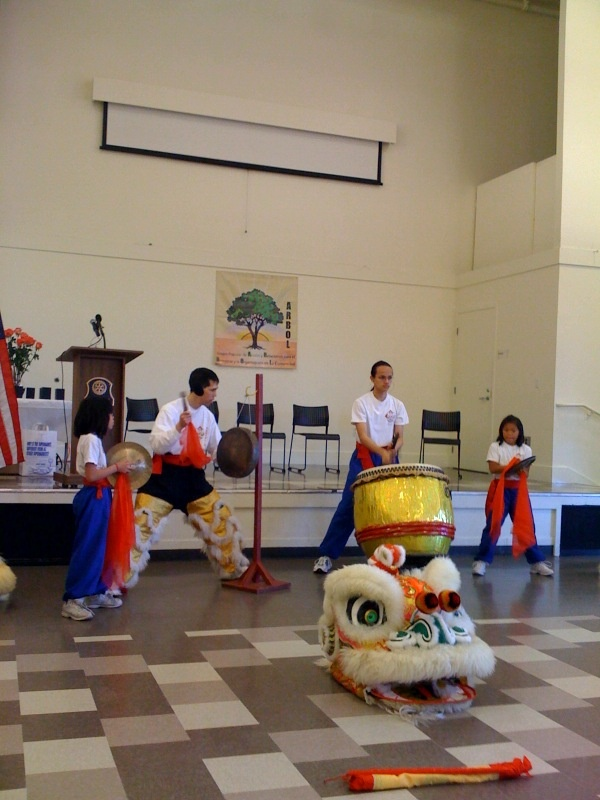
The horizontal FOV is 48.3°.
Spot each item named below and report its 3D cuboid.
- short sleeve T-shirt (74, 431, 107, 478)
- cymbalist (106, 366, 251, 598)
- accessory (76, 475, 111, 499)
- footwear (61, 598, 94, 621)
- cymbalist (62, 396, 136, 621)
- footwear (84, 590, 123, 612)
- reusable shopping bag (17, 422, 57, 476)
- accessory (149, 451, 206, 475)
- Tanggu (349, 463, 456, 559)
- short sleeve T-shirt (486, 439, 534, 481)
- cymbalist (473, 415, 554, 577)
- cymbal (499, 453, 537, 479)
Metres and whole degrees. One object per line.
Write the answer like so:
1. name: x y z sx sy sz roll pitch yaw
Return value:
1. short sleeve T-shirt: -1.076 0.248 3.361 0.158 0.237 0.289 -2 3 -6
2. cymbalist: -0.667 0.456 3.930 0.855 1.265 0.387 1 7 -31
3. accessory: -1.036 0.441 3.390 0.097 0.086 0.105 -3 -13 31
4. footwear: -1.080 1.017 3.287 0.189 0.102 0.071 -2 -1 36
5. cymbalist: -0.991 0.549 3.378 0.310 1.105 0.364 3 3 -20
6. footwear: -1.035 1.043 3.514 0.183 0.092 0.069 1 15 -24
7. reusable shopping bag: -2.057 0.405 5.373 0.309 0.448 0.299 3 -1 -35
8. accessory: -0.710 0.352 3.827 0.170 0.112 0.180 1 -6 -4
9. Tanggu: 0.486 0.528 3.162 0.473 0.450 0.309 1 -5 4
10. short sleeve T-shirt: 1.565 0.448 5.005 0.240 0.138 0.312 5 0 -32
11. cymbalist: 1.523 0.700 5.002 0.503 1.338 0.505 3 4 -7
12. cymbal: 1.556 0.478 4.776 0.181 0.070 0.185 -30 -11 10
